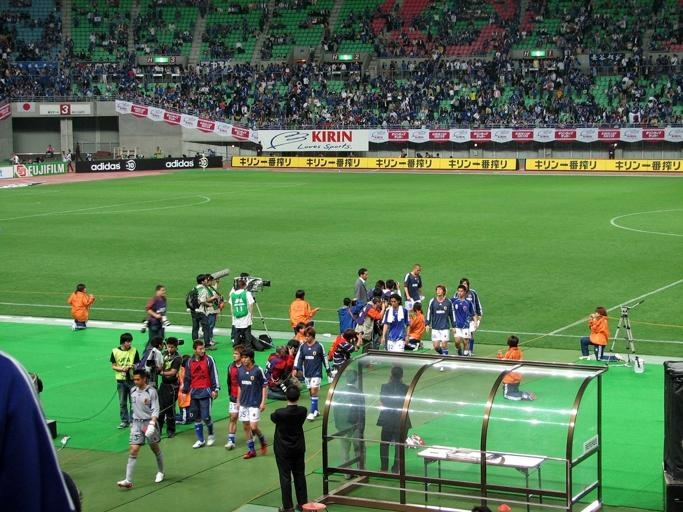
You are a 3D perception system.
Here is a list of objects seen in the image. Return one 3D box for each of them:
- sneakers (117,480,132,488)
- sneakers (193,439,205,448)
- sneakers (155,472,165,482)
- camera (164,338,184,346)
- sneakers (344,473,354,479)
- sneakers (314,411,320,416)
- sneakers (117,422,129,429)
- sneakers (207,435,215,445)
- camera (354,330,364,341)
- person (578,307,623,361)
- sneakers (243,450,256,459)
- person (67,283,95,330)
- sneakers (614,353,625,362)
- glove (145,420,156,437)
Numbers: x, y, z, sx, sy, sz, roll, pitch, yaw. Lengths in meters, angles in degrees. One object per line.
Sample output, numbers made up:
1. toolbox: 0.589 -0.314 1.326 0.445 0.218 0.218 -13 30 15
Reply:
1. sneakers: -4.940 5.182 23.960 0.330 0.165 0.155 10 -10 20
2. sneakers: -3.429 4.563 25.548 0.324 0.151 0.121 -2 0 22
3. sneakers: -4.175 5.059 24.198 0.192 0.219 0.191 -2 5 -13
4. camera: -4.144 2.155 26.370 0.420 0.154 0.433 4 3 42
5. sneakers: 0.193 4.865 23.233 0.206 0.142 0.082 -1 5 5
6. sneakers: -0.615 3.992 26.680 0.152 0.140 0.118 0 4 19
7. sneakers: -5.493 4.273 26.604 0.114 0.136 0.320 1 -4 16
8. sneakers: -3.184 4.479 25.618 0.108 0.124 0.296 2 17 0
9. camera: 0.515 2.233 29.156 0.211 0.286 0.101 8 -16 -6
10. person: 7.342 2.179 30.116 1.137 1.581 1.080 -5 6 -36
11. sneakers: -2.214 4.708 25.040 0.374 0.146 0.136 3 0 -14
12. person: -8.291 1.587 33.443 0.795 1.347 0.743 0 9 -27
13. sneakers: 7.937 2.893 29.997 0.194 0.077 0.217 6 15 1
14. glove: -4.312 3.894 23.781 0.108 0.320 0.233 26 -24 -38
